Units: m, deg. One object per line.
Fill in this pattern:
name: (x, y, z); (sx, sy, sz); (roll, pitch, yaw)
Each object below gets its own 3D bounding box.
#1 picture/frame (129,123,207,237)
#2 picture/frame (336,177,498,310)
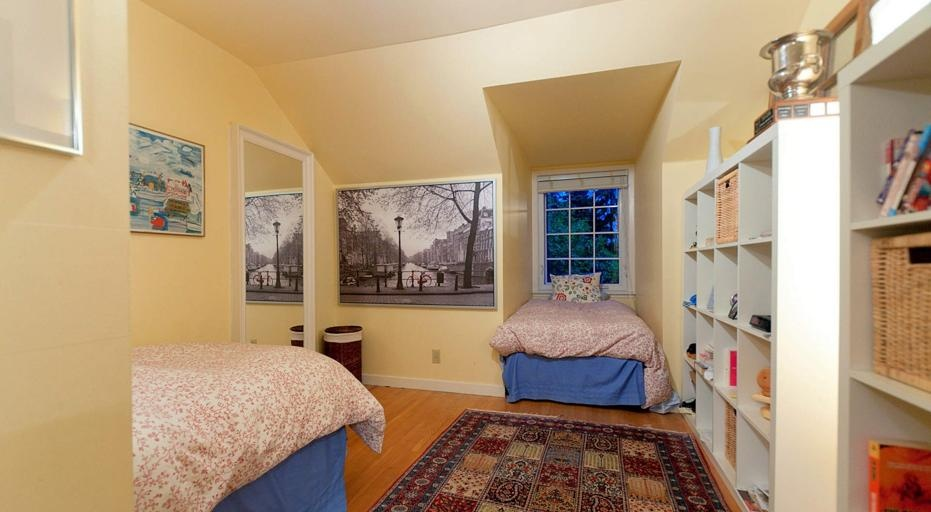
picture/frame: (-2.054, -0.509, 3.729); (0.155, 0.787, 0.603); (10, 17, 37)
picture/frame: (-0.405, -0.127, 5.171); (1.422, 0.928, 0.035); (0, -3, 10)
